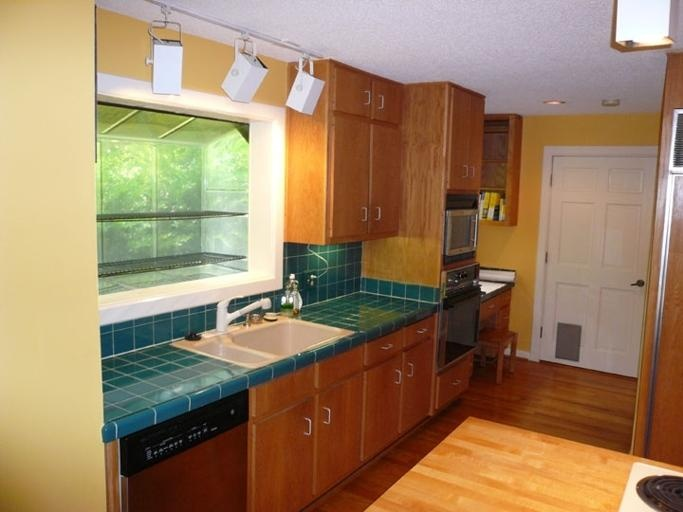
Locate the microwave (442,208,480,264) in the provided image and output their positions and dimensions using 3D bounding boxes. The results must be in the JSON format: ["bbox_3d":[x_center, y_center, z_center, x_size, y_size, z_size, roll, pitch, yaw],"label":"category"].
[{"bbox_3d":[0.928,-0.168,4.197,0.226,0.363,0.441,2,7,29],"label":"microwave"}]

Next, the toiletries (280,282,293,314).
[{"bbox_3d":[-0.364,0.274,3.536,0.077,0.183,0.090,1,9,18],"label":"toiletries"}]

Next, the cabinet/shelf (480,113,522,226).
[{"bbox_3d":[1.702,-0.908,5.632,0.417,1.173,0.338,1,9,14],"label":"cabinet/shelf"}]

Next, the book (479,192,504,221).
[{"bbox_3d":[1.639,-0.518,5.795,0.268,0.351,0.372,4,7,30],"label":"book"}]

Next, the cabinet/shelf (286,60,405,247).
[{"bbox_3d":[-0.001,-0.697,3.488,0.461,1.305,1.137,4,7,34],"label":"cabinet/shelf"}]
